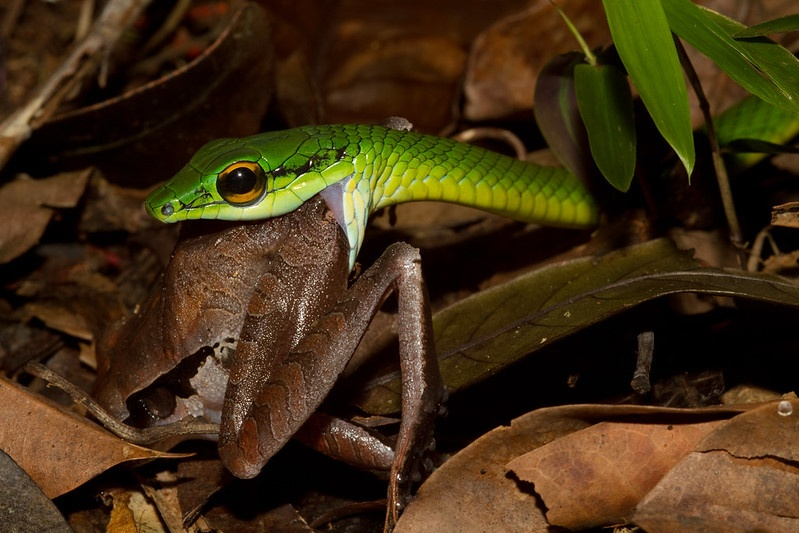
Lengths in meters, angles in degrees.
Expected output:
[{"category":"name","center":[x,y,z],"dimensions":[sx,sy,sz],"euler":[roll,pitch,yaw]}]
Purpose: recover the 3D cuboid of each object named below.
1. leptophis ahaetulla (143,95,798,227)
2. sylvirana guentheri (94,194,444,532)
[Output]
[{"category":"leptophis ahaetulla","center":[-0.129,-0.588,5.362],"dimensions":[2.444,0.610,1.615],"euler":[-19,13,-11]},{"category":"sylvirana guentheri","center":[-0.708,0.517,5.122],"dimensions":[1.938,1.345,1.374],"euler":[-1,42,30]}]
